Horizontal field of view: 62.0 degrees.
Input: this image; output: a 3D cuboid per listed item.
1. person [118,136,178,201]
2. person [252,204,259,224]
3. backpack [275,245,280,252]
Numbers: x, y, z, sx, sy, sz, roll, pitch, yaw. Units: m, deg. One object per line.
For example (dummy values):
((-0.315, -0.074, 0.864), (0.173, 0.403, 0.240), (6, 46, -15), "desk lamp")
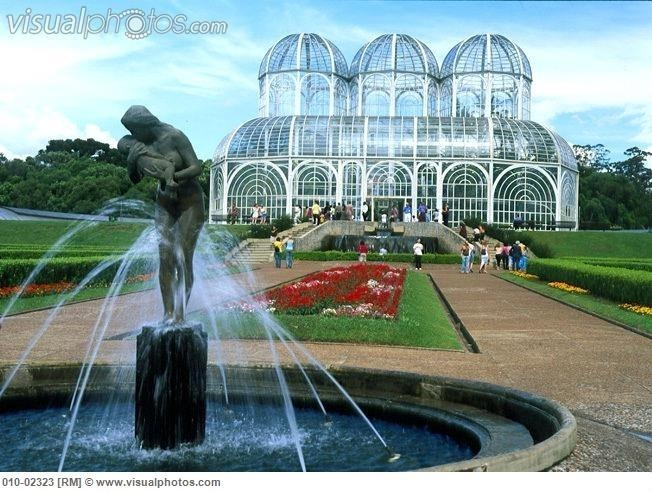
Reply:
((-1.795, -0.797, 5.399), (0.704, 0.642, 0.302), (2, 2, 27), "person")
((-5.671, -2.614, 43.536), (0.515, 1.405, 2.016), (0, 2, -7), "person")
((-2.477, 0.101, 27.507), (0.325, 0.478, 0.254), (0, -3, -4), "backpack")
